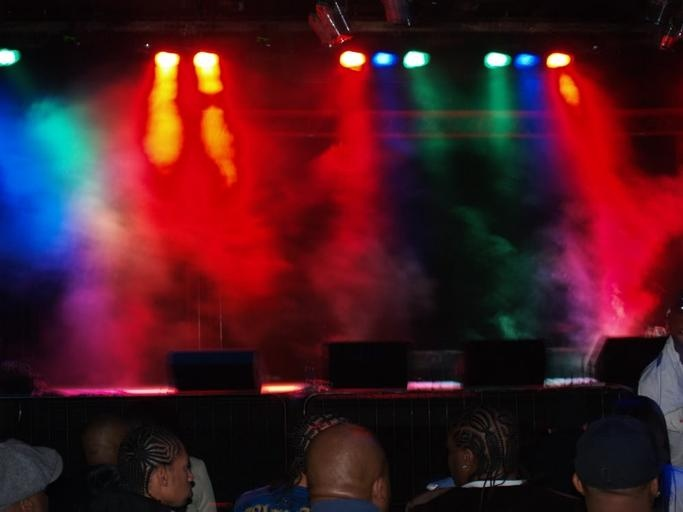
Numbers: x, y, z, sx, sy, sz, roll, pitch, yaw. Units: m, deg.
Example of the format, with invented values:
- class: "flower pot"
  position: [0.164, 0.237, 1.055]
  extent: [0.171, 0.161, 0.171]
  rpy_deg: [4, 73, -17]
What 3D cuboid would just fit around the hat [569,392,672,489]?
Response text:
- class: "hat"
  position: [1.585, 0.972, 4.063]
  extent: [0.454, 0.255, 0.667]
  rpy_deg: [-9, 5, 28]
